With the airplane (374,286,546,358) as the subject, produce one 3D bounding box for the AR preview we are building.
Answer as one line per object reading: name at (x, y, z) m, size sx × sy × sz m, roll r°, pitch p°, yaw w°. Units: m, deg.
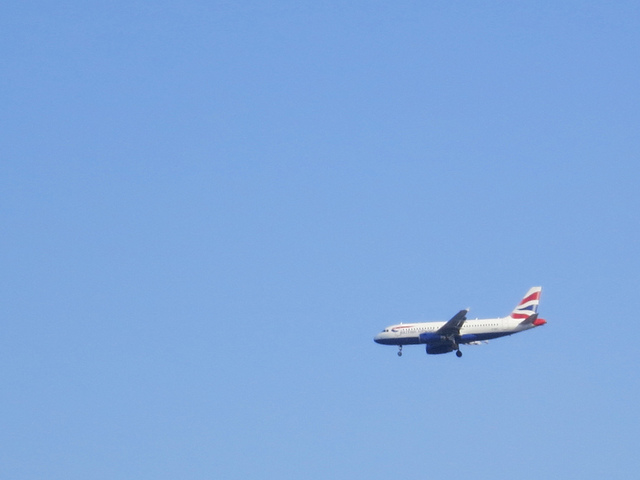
airplane at (18.267, 10.760, 172.476) m, size 22.739 × 9.379 × 24.658 m, roll -4°, pitch -11°, yaw 19°
